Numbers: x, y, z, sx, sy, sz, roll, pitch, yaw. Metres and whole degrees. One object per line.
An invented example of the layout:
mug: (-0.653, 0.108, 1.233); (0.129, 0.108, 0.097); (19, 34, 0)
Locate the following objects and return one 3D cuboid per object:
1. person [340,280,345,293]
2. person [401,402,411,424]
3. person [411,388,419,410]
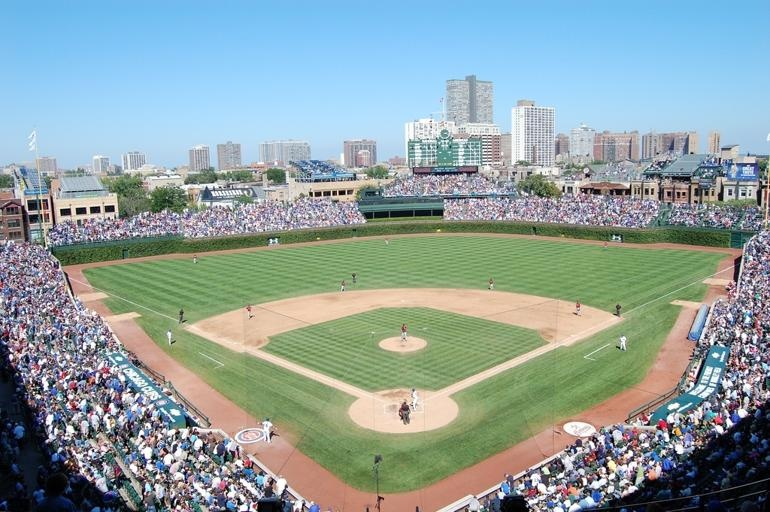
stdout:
person: (-4.754, 3.581, 72.054); (0.626, 1.361, 0.664); (3, 29, 3)
person: (1.389, 10.746, 43.056); (0.821, 0.786, 1.381); (2, 11, 0)
person: (2.099, 10.049, 44.744); (0.511, 1.238, 1.630); (-3, 9, 8)
